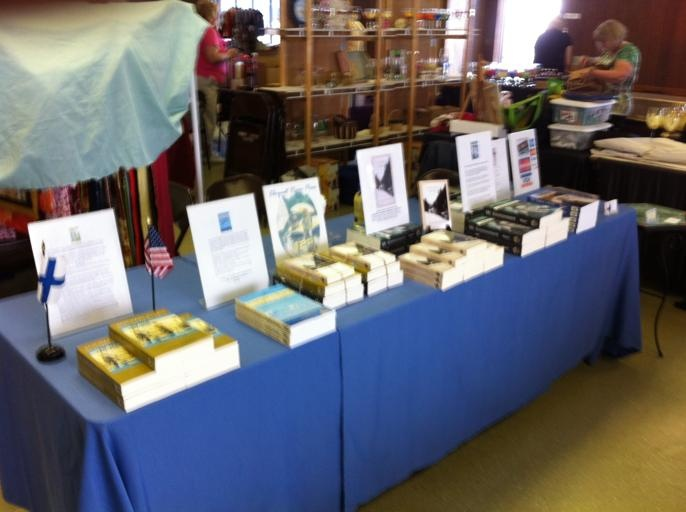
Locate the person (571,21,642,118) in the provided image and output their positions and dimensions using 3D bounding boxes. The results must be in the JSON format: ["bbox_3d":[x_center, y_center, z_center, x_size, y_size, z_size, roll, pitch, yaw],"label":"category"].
[{"bbox_3d":[2.357,-1.701,4.662,0.534,0.771,0.804,17,31,39],"label":"person"}]

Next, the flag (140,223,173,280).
[{"bbox_3d":[-0.645,-0.011,1.808,0.087,0.250,0.028,-2,32,-19],"label":"flag"}]

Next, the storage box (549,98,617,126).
[{"bbox_3d":[2.035,-1.209,4.301,0.533,0.221,0.274,-9,24,-11],"label":"storage box"}]

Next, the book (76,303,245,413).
[{"bbox_3d":[-0.598,0.289,1.557,0.288,0.113,0.317,20,27,41],"label":"book"}]
